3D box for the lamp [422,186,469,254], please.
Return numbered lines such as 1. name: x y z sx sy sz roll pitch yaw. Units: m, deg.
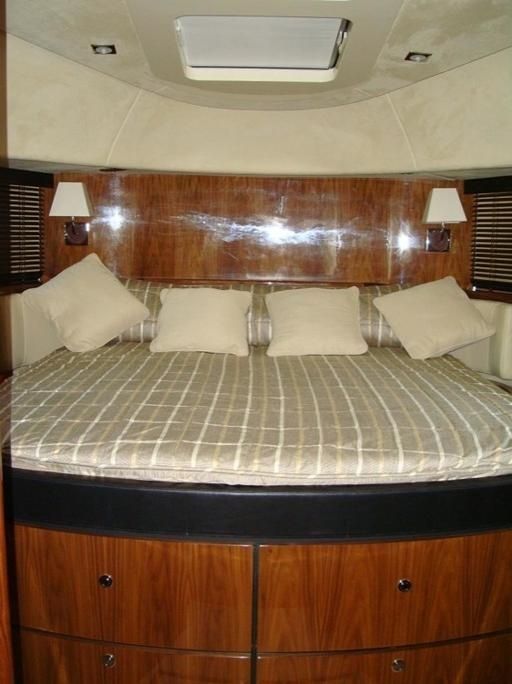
1. lamp: 1.135 -0.756 3.323 0.252 0.347 0.343 -4 -9 21
